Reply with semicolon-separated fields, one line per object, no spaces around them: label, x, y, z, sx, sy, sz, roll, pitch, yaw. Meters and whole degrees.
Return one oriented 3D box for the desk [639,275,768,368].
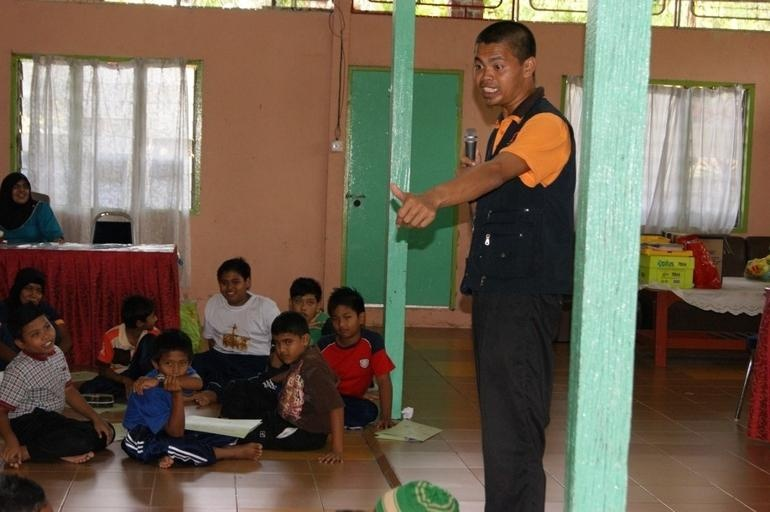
desk;2.731;0.501;7.077;1.064;0.535;0.720;0;6;-3

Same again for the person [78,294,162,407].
person;-1.858;0.685;5.977;0.584;0.740;0.512;8;13;-15

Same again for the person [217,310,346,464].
person;-0.636;0.834;5.295;1.068;0.915;0.543;-1;-2;29

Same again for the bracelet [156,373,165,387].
bracelet;-1.377;0.758;5.024;0.058;0.077;0.030;1;1;-2

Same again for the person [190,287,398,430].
person;-0.265;0.670;5.453;0.767;0.883;0.551;0;2;13

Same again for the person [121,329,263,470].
person;-1.227;0.892;5.020;0.803;0.765;0.684;2;1;26

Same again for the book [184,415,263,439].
book;-1.007;1.062;5.110;0.251;0.032;0.208;5;9;9
